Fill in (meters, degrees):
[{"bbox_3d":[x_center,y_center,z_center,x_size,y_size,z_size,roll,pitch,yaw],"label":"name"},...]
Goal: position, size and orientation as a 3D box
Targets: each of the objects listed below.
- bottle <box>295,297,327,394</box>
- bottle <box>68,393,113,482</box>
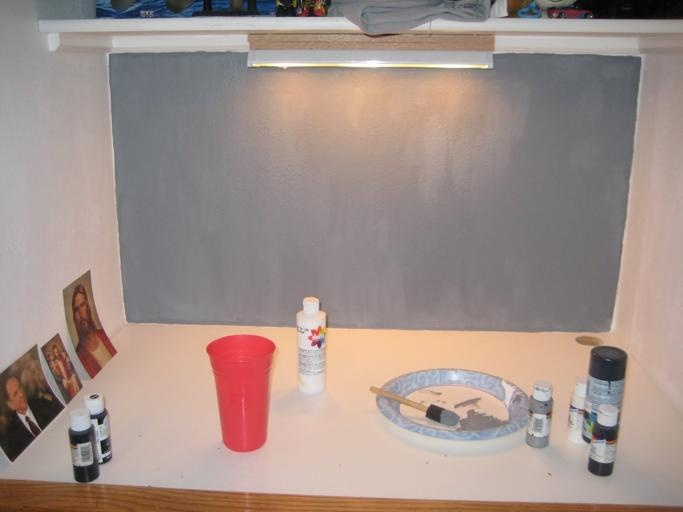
[{"bbox_3d":[-0.076,0.223,1.419,0.070,0.239,0.050,-2,13,-6],"label":"bottle"},{"bbox_3d":[-0.511,0.377,1.164,0.052,0.144,0.153,0,1,-8],"label":"bottle"}]
